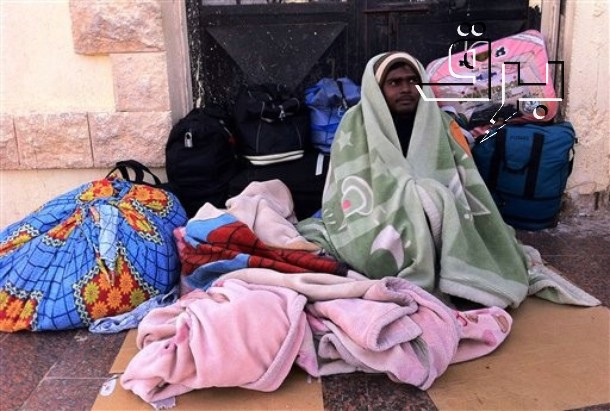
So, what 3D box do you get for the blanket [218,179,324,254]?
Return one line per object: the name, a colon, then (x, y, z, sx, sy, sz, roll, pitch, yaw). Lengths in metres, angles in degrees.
blanket: (-0.252, 0.080, 4.100, 0.706, 0.534, 0.710, -6, 26, -21)
